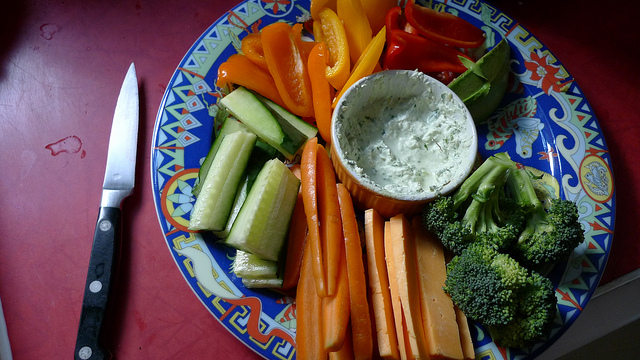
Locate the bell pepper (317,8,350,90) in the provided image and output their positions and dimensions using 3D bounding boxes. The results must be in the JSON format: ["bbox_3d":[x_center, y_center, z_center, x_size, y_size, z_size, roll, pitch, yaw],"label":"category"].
[{"bbox_3d":[0.129,-0.914,3.941,0.137,0.479,0.427,-18,40,-11],"label":"bell pepper"}]

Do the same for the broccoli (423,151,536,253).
[{"bbox_3d":[1.053,0.195,3.686,0.573,0.714,0.328,25,-6,3],"label":"broccoli"}]

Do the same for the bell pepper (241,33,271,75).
[{"bbox_3d":[-0.482,-0.925,3.998,0.189,0.309,0.100,-34,3,-17],"label":"bell pepper"}]
